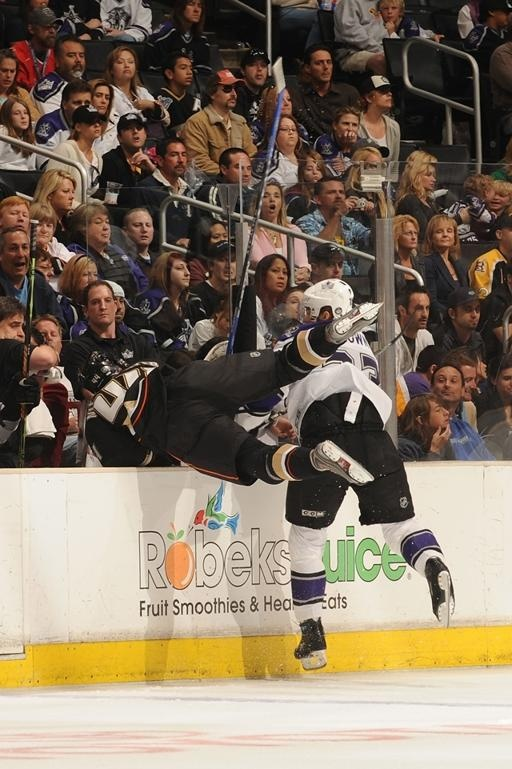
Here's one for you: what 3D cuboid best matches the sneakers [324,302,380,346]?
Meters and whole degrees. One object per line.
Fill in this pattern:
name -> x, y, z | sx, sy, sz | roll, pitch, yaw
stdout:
sneakers -> 0.388, -0.256, 4.764 | 0.241, 0.073, 0.108 | -29, -43, 7

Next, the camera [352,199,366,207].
camera -> 0.456, -0.795, 5.058 | 0.042, 0.036, 0.012 | -17, 1, -20

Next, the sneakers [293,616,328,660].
sneakers -> 0.228, 1.073, 4.863 | 0.127, 0.180, 0.053 | 0, 3, 1

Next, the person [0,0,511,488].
person -> -0.265, -0.488, 4.656 | 1.509, 1.815, 0.887 | 0, 3, 5

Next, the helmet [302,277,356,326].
helmet -> 0.319, -0.364, 5.032 | 0.227, 0.164, 0.163 | 5, 1, 15

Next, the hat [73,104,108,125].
hat -> -0.970, -1.550, 6.667 | 0.184, 0.092, 0.123 | 1, 20, 32

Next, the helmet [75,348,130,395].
helmet -> -0.638, -0.060, 4.827 | 0.236, 0.143, 0.108 | -39, 2, -15

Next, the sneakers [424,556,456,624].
sneakers -> 0.759, 0.879, 4.939 | 0.122, 0.272, 0.137 | -6, -14, 5

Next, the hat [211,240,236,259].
hat -> -0.142, -0.574, 4.905 | 0.074, 0.047, 0.113 | -24, 6, -18

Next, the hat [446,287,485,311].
hat -> 0.951, -0.392, 5.285 | 0.108, 0.062, 0.136 | -1, -2, -30

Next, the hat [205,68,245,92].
hat -> -0.240, -2.011, 7.615 | 0.268, 0.126, 0.199 | -7, 4, 32

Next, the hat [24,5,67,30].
hat -> -1.456, -2.538, 7.958 | 0.299, 0.135, 0.194 | 9, 24, 21
